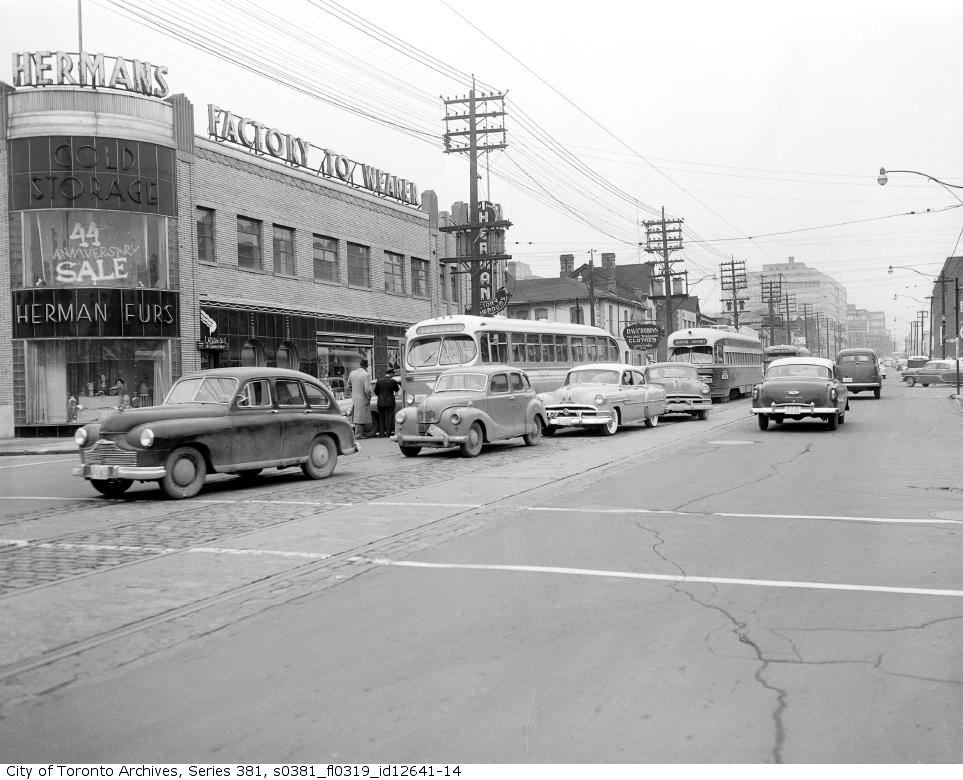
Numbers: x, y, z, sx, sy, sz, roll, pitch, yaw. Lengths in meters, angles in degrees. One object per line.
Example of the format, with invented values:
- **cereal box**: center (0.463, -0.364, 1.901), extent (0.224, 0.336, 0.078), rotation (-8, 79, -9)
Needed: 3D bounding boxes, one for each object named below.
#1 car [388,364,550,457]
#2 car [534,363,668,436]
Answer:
- **car**: center (-0.278, 0.461, 20.232), extent (1.493, 1.921, 3.775), rotation (1, 2, 35)
- **car**: center (3.515, 0.232, 25.761), extent (1.772, 1.952, 3.985), rotation (1, 3, 38)
